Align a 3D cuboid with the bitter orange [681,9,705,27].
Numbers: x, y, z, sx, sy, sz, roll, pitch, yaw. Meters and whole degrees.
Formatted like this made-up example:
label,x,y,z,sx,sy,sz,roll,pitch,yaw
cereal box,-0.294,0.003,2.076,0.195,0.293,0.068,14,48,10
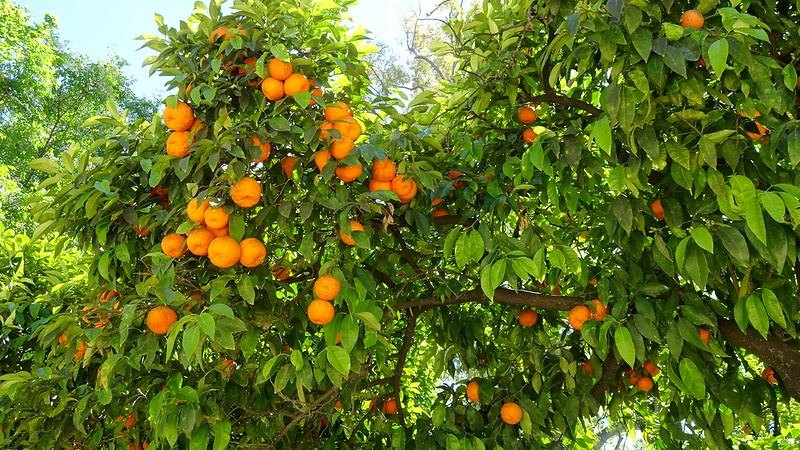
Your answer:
label,x,y,z,sx,sy,sz,roll,pitch,yaw
bitter orange,1.759,-1.231,3.521,0.119,0.095,0.096,-20,-47,-6
